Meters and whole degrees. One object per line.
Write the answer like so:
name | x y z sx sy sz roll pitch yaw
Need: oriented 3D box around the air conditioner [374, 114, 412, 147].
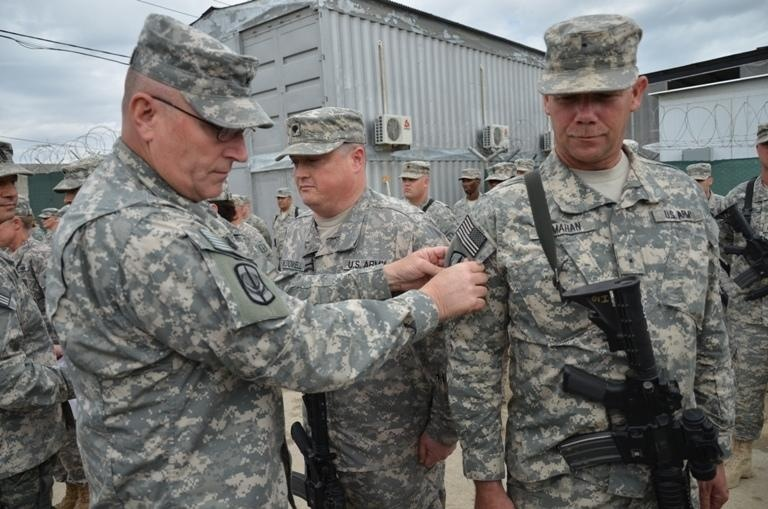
air conditioner | 0.114 -1.737 10.451 0.210 0.392 0.608 0 4 41

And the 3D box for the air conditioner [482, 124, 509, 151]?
air conditioner | 1.771 -1.955 12.430 0.143 0.323 0.440 3 7 42

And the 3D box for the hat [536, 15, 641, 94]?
hat | 1.171 -1.242 4.423 0.619 0.302 0.824 -6 30 10
